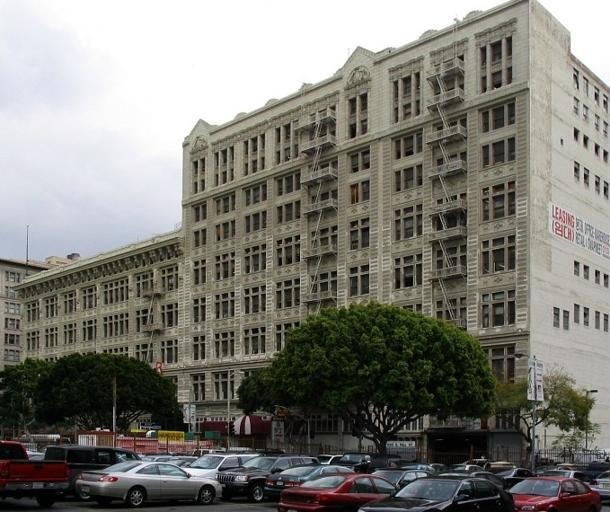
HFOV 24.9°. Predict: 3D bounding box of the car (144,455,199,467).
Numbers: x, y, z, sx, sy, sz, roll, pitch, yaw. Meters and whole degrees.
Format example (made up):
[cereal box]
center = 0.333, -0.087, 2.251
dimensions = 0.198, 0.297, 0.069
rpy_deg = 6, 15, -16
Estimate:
[car]
center = -9.587, 14.532, 98.309
dimensions = 2.730, 0.676, 1.663
rpy_deg = -7, -8, 19
